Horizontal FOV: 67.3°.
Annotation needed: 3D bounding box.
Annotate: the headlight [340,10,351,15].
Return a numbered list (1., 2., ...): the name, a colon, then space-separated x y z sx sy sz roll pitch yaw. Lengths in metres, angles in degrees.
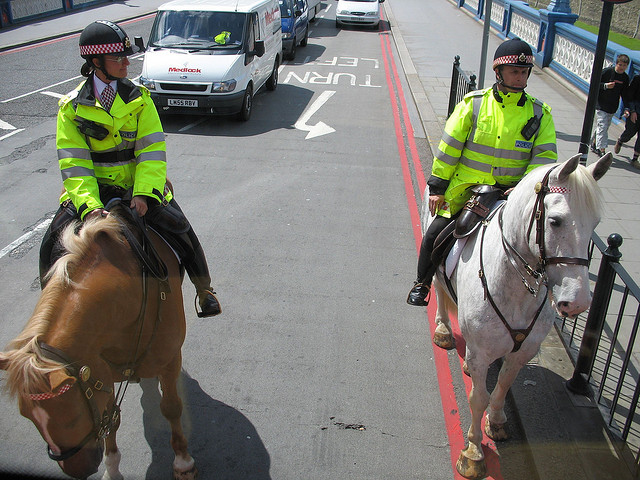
1. headlight: 1.446 -12.963 27.775 0.563 0.212 0.095 20 31 30

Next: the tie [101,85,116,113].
1. tie: -1.806 -1.167 4.090 0.112 0.214 0.052 2 -2 -13

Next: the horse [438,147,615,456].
1. horse: 1.618 0.601 4.049 0.645 2.916 1.483 -1 26 -5

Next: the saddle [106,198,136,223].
1. saddle: -1.648 -0.265 3.925 0.146 0.229 0.101 -16 6 -17

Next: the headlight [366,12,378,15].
1. headlight: 2.959 -12.733 27.449 0.610 0.115 0.198 -6 29 -16

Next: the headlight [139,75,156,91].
1. headlight: -4.379 -3.892 12.124 0.200 0.273 0.631 -19 35 -36

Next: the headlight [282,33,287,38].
1. headlight: -1.455 -8.174 19.457 0.223 0.059 0.230 7 42 2

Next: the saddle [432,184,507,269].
1. saddle: 1.329 -0.162 4.533 0.324 0.709 0.510 32 5 -21
